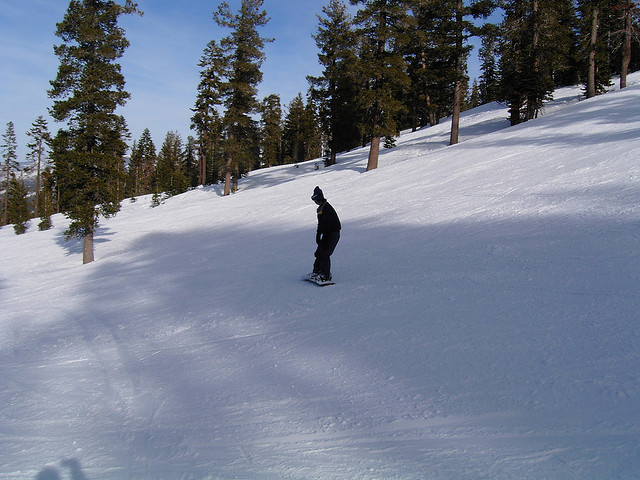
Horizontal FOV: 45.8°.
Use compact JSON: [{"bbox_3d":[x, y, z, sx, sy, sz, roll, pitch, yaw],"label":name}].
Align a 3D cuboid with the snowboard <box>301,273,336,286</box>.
[{"bbox_3d":[-0.008,1.445,27.036,1.318,0.345,0.071,7,-24,43],"label":"snowboard"}]
